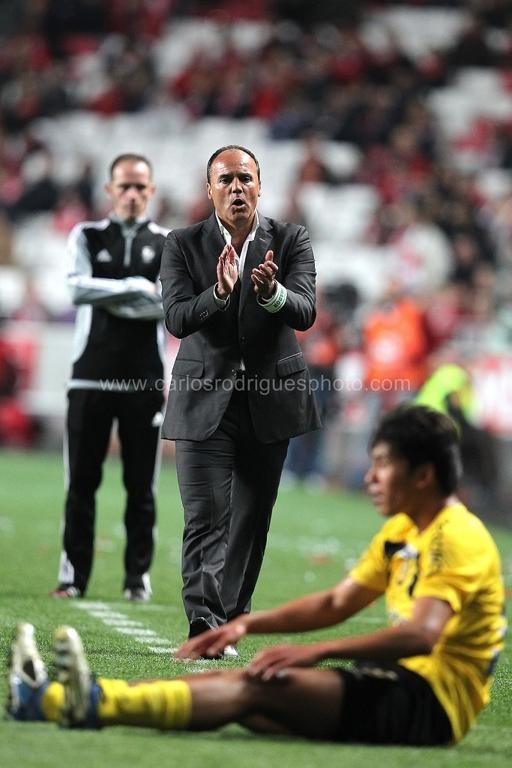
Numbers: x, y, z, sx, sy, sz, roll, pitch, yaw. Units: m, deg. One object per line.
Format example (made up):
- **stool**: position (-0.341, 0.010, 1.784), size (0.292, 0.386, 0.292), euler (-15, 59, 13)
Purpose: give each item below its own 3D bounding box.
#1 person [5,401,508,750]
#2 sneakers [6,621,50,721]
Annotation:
- **person**: position (0.049, 0.498, 2.204), size (1.392, 0.830, 0.579), euler (0, -8, -16)
- **sneakers**: position (-0.476, 0.608, 1.887), size (0.088, 0.189, 0.251), euler (8, -9, -11)
